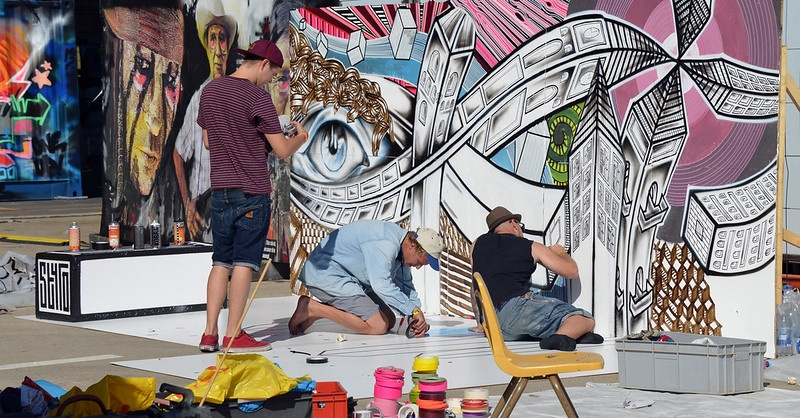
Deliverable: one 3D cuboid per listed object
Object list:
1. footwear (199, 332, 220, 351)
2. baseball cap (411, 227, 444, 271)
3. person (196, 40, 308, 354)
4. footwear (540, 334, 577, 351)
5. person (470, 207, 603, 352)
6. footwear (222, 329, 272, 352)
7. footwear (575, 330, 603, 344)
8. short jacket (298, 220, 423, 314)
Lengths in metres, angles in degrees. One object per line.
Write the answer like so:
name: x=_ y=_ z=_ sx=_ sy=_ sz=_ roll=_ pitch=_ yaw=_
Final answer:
footwear: x=-2.558 y=1.801 z=18.797 sx=0.288 sy=0.252 sz=0.154 roll=7 pitch=-10 yaw=-32
baseball cap: x=0.372 y=0.519 z=19.219 sx=0.392 sy=0.580 sz=0.316 roll=2 pitch=-9 yaw=2
person: x=-2.178 y=-0.192 z=18.884 sx=1.222 sy=4.223 sz=0.709 roll=2 pitch=-9 yaw=2
footwear: x=2.116 y=1.794 z=18.737 sx=0.399 sy=0.126 sz=0.208 roll=-2 pitch=1 yaw=11
person: x=1.636 y=0.908 z=19.515 sx=2.365 sy=1.867 sz=1.321 roll=-1 pitch=0 yaw=42
footwear: x=-2.098 y=1.778 z=18.819 sx=0.785 sy=0.290 sz=0.286 roll=0 pitch=-2 yaw=-6
footwear: x=2.604 y=1.764 z=19.016 sx=0.445 sy=0.154 sz=0.140 roll=1 pitch=-1 yaw=-1
short jacket: x=-0.389 y=0.801 z=19.714 sx=1.669 sy=1.073 sz=1.173 roll=22 pitch=-8 yaw=12
